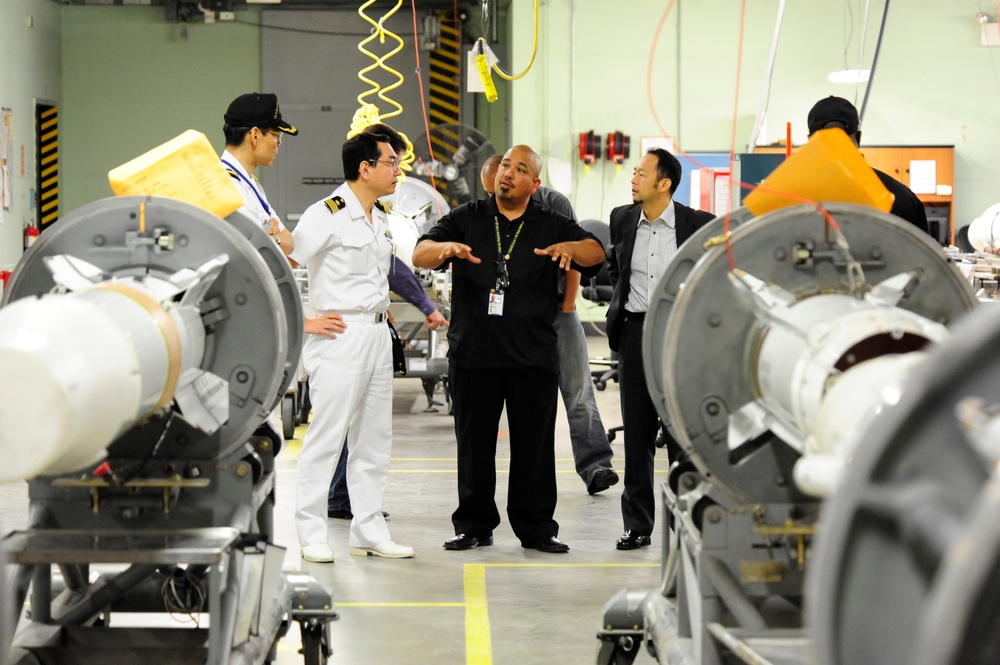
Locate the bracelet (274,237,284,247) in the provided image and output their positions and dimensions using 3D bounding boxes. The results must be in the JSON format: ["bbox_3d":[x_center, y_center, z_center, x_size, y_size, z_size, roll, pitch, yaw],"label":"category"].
[{"bbox_3d":[-0.755,-0.307,3.086,0.012,0.031,0.041,-8,-4,37],"label":"bracelet"}]

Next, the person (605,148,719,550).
[{"bbox_3d":[0.733,0.094,4.373,0.425,1.987,0.480,2,5,6],"label":"person"}]

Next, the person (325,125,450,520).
[{"bbox_3d":[-0.641,-0.027,5.055,0.969,1.820,0.536,2,-32,-5],"label":"person"}]

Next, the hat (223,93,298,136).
[{"bbox_3d":[-0.932,-0.847,3.507,0.237,0.140,0.162,-4,13,-17],"label":"hat"}]

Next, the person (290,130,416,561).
[{"bbox_3d":[-0.695,0.076,4.175,0.597,2.007,0.337,-2,6,-29],"label":"person"}]

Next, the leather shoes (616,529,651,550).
[{"bbox_3d":[0.664,1.044,4.535,0.195,0.098,0.075,4,-4,-32],"label":"leather shoes"}]

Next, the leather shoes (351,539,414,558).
[{"bbox_3d":[-0.558,1.007,4.303,0.269,0.083,0.113,1,2,11],"label":"leather shoes"}]

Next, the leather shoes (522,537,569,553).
[{"bbox_3d":[0.229,1.049,4.459,0.224,0.098,0.084,-2,0,13],"label":"leather shoes"}]

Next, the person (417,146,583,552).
[{"bbox_3d":[0.017,0.073,4.300,0.872,1.989,0.755,0,-4,5],"label":"person"}]

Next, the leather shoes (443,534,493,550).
[{"bbox_3d":[-0.154,1.045,4.509,0.258,0.107,0.087,5,-3,-27],"label":"leather shoes"}]
